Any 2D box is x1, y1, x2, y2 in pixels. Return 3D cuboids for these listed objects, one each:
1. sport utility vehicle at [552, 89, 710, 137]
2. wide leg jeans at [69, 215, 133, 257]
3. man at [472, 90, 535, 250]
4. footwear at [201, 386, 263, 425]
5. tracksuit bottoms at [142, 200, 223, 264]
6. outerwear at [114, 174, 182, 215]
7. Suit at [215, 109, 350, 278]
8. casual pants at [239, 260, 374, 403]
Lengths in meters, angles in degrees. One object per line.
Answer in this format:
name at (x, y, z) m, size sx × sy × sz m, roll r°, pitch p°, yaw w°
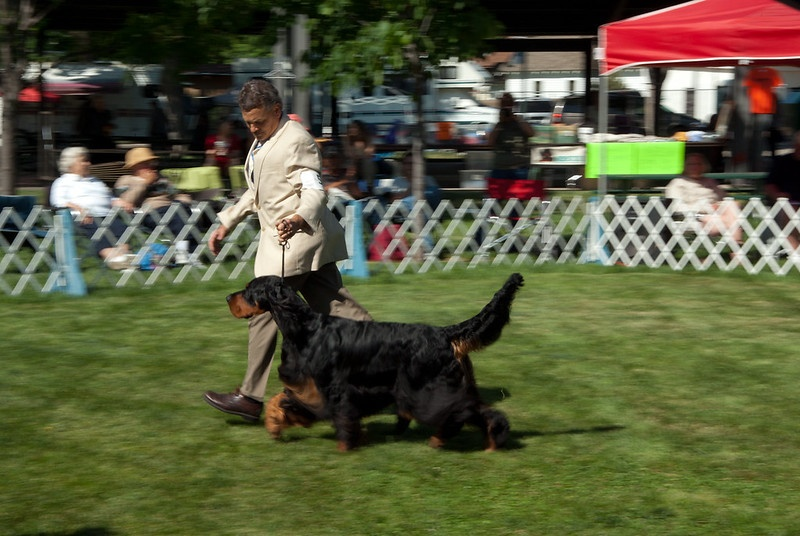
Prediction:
sport utility vehicle at (5.529, -3.853, 21.798) m, size 4.679 × 1.088 × 1.649 m, roll -1°, pitch 9°, yaw 3°
wide leg jeans at (-3.650, -0.405, 11.388) m, size 0.450 × 0.539 × 0.658 m, roll 8°, pitch 12°, yaw 36°
man at (1.855, -1.661, 14.677) m, size 1.103 × 2.238 × 1.121 m, roll 3°, pitch -3°, yaw -36°
footwear at (-1.341, 1.096, 7.268) m, size 0.631 × 0.189 × 0.191 m, roll 14°, pitch 3°, yaw 0°
tracksuit bottoms at (-3.060, -0.499, 12.089) m, size 0.723 × 0.808 × 1.531 m, roll -2°, pitch 9°, yaw -15°
outerwear at (-3.463, -1.021, 12.208) m, size 0.894 × 0.253 × 0.730 m, roll 18°, pitch 13°, yaw 31°
Suit at (-0.796, -0.556, 7.100) m, size 0.746 × 1.229 × 0.372 m, roll 1°, pitch 11°, yaw -3°
casual pants at (-0.699, 0.517, 7.227) m, size 1.165 × 0.346 × 1.637 m, roll -7°, pitch 22°, yaw -5°
